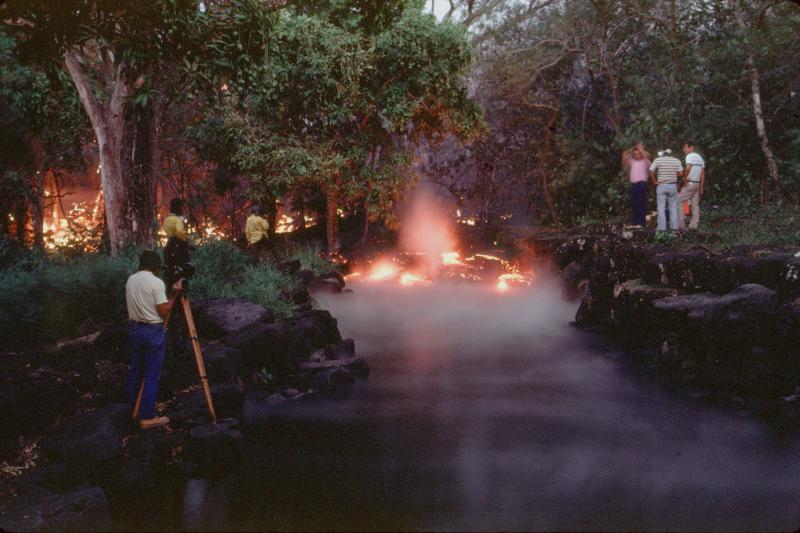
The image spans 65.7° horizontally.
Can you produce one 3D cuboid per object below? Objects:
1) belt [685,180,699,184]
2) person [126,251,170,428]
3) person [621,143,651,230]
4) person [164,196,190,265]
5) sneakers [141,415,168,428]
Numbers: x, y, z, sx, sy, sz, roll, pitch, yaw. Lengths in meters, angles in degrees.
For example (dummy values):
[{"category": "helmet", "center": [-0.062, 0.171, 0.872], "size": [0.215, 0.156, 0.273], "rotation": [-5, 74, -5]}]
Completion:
[{"category": "belt", "center": [9.901, -2.855, 20.910], "size": [0.361, 0.111, 0.137], "rotation": [3, 13, 12]}, {"category": "person", "center": [-5.639, 1.634, 13.807], "size": [0.936, 3.892, 0.737], "rotation": [-8, 15, -33]}, {"category": "person", "center": [8.165, -2.821, 21.383], "size": [0.827, 2.852, 1.523], "rotation": [5, 14, 21]}, {"category": "person", "center": [-6.464, -0.979, 17.732], "size": [0.690, 1.986, 1.479], "rotation": [-5, 14, -20]}, {"category": "sneakers", "center": [-5.541, 3.512, 13.945], "size": [0.540, 0.235, 0.249], "rotation": [-5, 6, -19]}]
